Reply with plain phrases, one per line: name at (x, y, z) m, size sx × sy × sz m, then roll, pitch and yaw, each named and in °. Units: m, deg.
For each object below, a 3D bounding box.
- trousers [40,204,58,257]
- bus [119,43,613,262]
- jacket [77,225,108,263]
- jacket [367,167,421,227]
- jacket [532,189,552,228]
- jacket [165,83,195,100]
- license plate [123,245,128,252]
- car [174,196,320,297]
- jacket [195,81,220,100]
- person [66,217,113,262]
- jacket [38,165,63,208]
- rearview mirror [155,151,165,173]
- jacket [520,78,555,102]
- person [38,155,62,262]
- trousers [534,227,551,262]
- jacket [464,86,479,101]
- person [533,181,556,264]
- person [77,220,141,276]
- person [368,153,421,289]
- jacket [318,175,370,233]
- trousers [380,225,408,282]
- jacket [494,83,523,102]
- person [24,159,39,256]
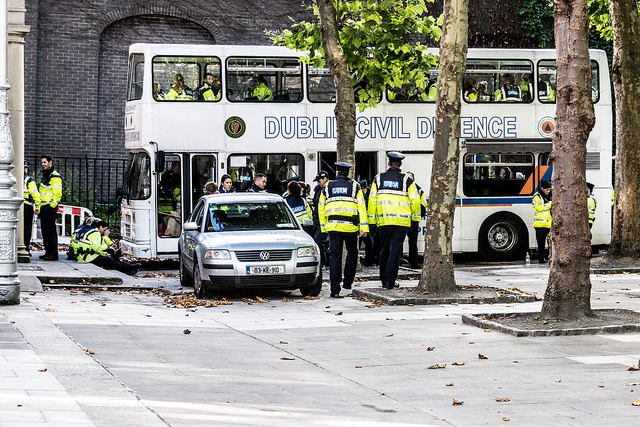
trousers at (-6.509, 0.393, 29.002) m, size 0.402 × 1.248 × 0.313 m, roll 0°, pitch 2°, yaw -18°
bus at (1.426, -1.542, 32.296) m, size 12.623 × 4.962 × 4.195 m, roll 0°, pitch 1°, yaw -14°
jacket at (-5.491, 0.701, 28.901) m, size 0.703 × 0.846 × 0.895 m, roll -3°, pitch 2°, yaw -43°
jacket at (1.537, -0.320, 25.297) m, size 1.162 × 1.188 × 0.579 m, roll 0°, pitch -1°, yaw 6°
jacket at (5.415, -0.124, 29.782) m, size 0.391 × 0.918 × 0.725 m, roll 1°, pitch 1°, yaw 5°
jacket at (-3.423, -2.932, 29.410) m, size 0.722 × 0.382 × 0.196 m, roll -1°, pitch 2°, yaw -39°
license plate at (-4.846, 0.824, 29.992) m, size 0.140 × 0.107 × 0.199 m, roll 2°, pitch 1°, yaw -22°
car at (-1.495, 0.687, 25.284) m, size 2.972 × 2.047 × 2.063 m, roll 1°, pitch 1°, yaw 7°
jacket at (-2.710, -2.954, 29.625) m, size 0.487 × 0.485 × 0.355 m, roll -6°, pitch 19°, yaw -19°
person at (-5.582, 0.569, 29.210) m, size 1.116 × 1.130 × 0.804 m, roll 9°, pitch 6°, yaw -26°
jacket at (-6.471, -0.616, 28.982) m, size 0.530 × 0.918 × 0.487 m, roll -1°, pitch 2°, yaw -35°
rearview mirror at (-3.880, -1.250, 29.179) m, size 0.225 × 0.492 × 0.189 m, roll 0°, pitch 2°, yaw -11°
jacket at (5.598, -3.155, 31.607) m, size 0.825 × 0.777 × 0.551 m, roll 3°, pitch 7°, yaw -10°
person at (-6.525, -0.151, 29.203) m, size 0.499 × 2.502 × 1.422 m, roll 0°, pitch 2°, yaw -13°
trousers at (5.474, 0.754, 30.219) m, size 0.328 × 0.866 × 0.897 m, roll 1°, pitch 1°, yaw 9°
jacket at (3.801, -3.017, 31.062) m, size 0.299 × 0.207 × 0.377 m, roll 2°, pitch -34°, yaw -2°
person at (5.425, 0.205, 29.980) m, size 0.399 × 2.019 × 1.030 m, roll 1°, pitch 1°, yaw 8°
person at (-5.075, 0.703, 29.076) m, size 1.630 × 1.181 × 0.967 m, roll 4°, pitch 13°, yaw -30°
person at (1.504, 0.144, 25.252) m, size 1.086 × 2.803 × 0.566 m, roll 1°, pitch 2°, yaw 4°
jacket at (0.439, -0.219, 25.358) m, size 1.102 × 1.177 × 0.626 m, roll 1°, pitch 2°, yaw 13°
trousers at (1.507, 0.811, 25.267) m, size 0.551 × 1.154 × 0.478 m, roll -1°, pitch -2°, yaw -3°
jacket at (4.844, -3.028, 31.335) m, size 0.460 × 0.586 × 0.599 m, roll 3°, pitch 3°, yaw -2°
person at (-7.011, -0.037, 29.373) m, size 0.341 × 1.709 × 0.763 m, roll 0°, pitch 2°, yaw -15°
